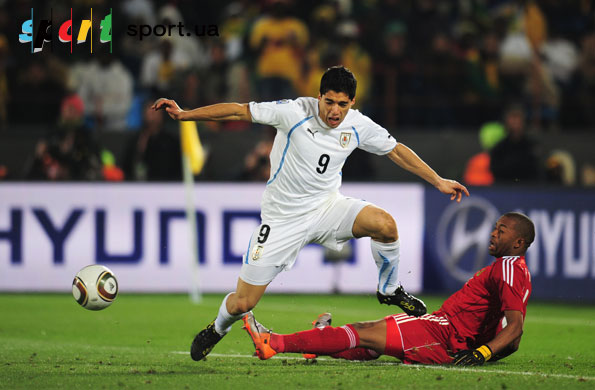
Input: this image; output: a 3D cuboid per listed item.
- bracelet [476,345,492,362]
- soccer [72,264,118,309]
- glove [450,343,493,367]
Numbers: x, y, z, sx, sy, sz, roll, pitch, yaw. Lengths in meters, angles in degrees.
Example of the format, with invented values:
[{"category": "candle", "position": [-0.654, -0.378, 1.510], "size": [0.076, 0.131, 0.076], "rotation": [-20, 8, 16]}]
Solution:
[{"category": "bracelet", "position": [2.327, 1.930, 11.223], "size": [0.167, 0.168, 0.202], "rotation": [-40, 7, -1]}, {"category": "soccer", "position": [-2.666, 1.214, 11.950], "size": [0.613, 0.642, 0.615], "rotation": [-3, 2, 30]}, {"category": "glove", "position": [2.168, 2.007, 11.166], "size": [0.395, 0.262, 0.151], "rotation": [-33, 2, 25]}]
